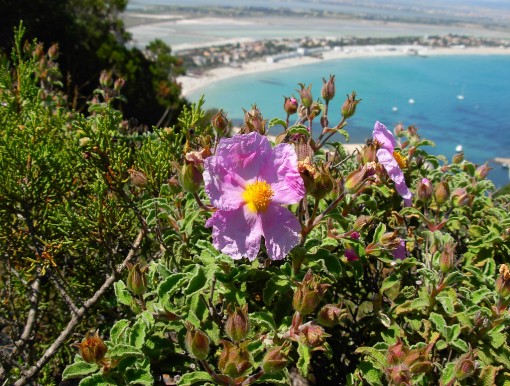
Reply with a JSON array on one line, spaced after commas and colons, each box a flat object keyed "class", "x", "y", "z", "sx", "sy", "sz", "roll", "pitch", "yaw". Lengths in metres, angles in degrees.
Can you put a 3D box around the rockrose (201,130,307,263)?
[{"class": "rockrose", "x": 0.002, "y": 0.020, "z": 3.265, "sx": 0.734, "sy": 0.791, "sz": 0.495, "roll": -3, "pitch": 26, "yaw": -7}]
